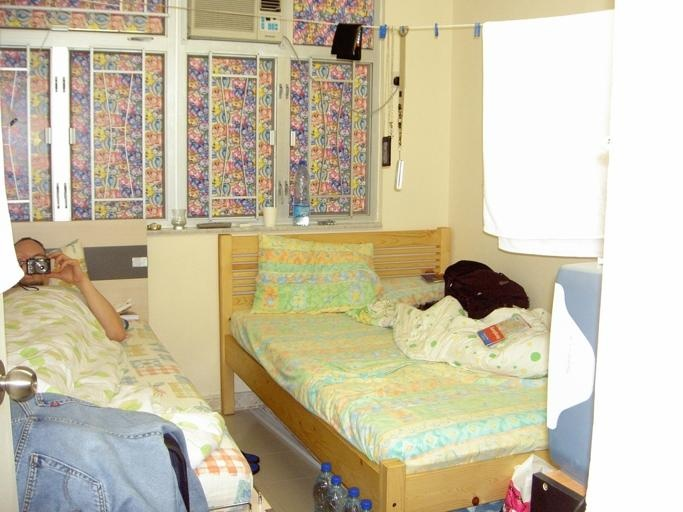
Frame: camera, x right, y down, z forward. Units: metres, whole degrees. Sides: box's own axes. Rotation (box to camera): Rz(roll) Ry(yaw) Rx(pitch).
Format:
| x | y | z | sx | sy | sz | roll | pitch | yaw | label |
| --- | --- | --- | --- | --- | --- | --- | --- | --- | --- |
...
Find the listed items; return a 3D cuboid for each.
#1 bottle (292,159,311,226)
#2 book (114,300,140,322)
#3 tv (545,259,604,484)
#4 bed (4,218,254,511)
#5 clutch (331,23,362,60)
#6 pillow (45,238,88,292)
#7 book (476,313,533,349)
| x | y | z | sx | sy | sz | roll | pitch | yaw | label |
| --- | --- | --- | --- | --- | --- | --- | --- | --- | --- |
| -0.284 | -0.439 | 3.948 | 0.106 | 0.424 | 0.136 | 2 | 10 | -7 | bottle |
| -1.340 | 0.372 | 3.403 | 0.135 | 0.053 | 0.132 | -7 | 35 | -9 | book |
| 0.652 | 0.324 | 1.490 | 0.110 | 0.616 | 0.165 | -2 | 12 | -31 | tv |
| -1.192 | 0.638 | 3.207 | 1.133 | 1.193 | 1.834 | -2 | 45 | -13 | bed |
| 0.036 | -1.291 | 3.238 | 0.169 | 0.217 | 0.121 | 2 | 10 | -7 | clutch |
| -1.637 | 0.046 | 3.319 | 0.108 | 0.340 | 0.365 | -5 | -2 | 40 | pillow |
| 0.867 | 0.392 | 2.854 | 0.213 | 0.047 | 0.150 | -17 | 26 | -11 | book |
